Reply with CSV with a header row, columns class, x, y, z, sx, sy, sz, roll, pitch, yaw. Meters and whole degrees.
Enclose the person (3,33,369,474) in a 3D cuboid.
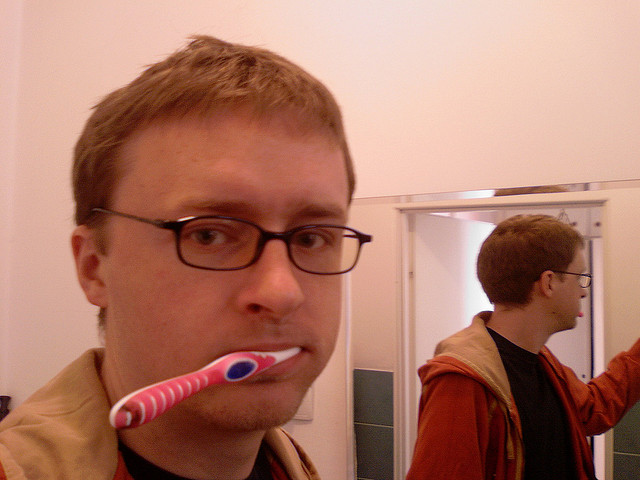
class,x,y,z,sx,sy,sz,roll,pitch,yaw
person,-0.236,0.032,1.046,0.626,0.791,0.344,-3,-3,7
